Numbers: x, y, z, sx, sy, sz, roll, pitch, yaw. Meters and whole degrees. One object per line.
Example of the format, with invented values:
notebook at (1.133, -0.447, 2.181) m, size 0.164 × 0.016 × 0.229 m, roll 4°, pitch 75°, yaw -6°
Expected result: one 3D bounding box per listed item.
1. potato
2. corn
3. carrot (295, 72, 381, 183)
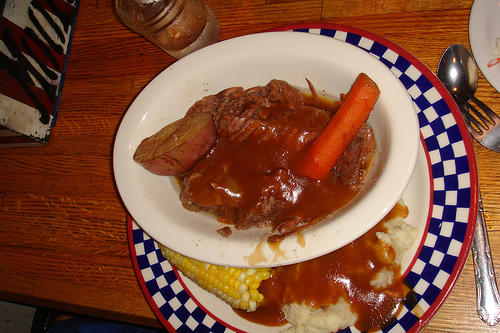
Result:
potato at (-0.478, -0.163, 2.939) m, size 0.501 × 0.347 × 0.294 m, roll -29°, pitch -40°, yaw 6°
corn at (-0.312, 0.722, 3.061) m, size 0.998 × 0.329 × 0.317 m, roll 20°, pitch 31°, yaw 18°
carrot at (0.541, -0.210, 2.634) m, size 0.186 × 0.702 × 0.172 m, roll 36°, pitch -3°, yaw 6°
